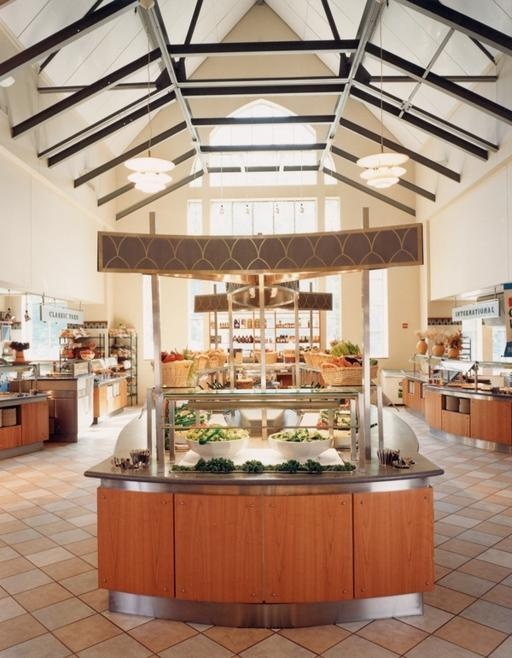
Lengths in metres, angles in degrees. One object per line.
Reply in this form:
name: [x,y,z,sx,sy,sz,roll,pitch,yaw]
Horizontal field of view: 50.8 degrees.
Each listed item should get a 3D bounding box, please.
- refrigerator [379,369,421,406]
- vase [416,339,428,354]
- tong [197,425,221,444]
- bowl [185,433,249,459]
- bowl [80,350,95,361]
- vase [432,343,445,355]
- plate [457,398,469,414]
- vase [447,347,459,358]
refrigerator: [3.008,1.325,11.593,0.577,0.774,1.739,-1,-1,5]
vase: [3.189,0.349,10.432,0.167,0.297,0.400,-1,-1,16]
tong: [-0.274,0.636,3.222,0.146,0.060,0.247,-4,1,1]
bowl: [-0.222,0.724,3.312,0.308,0.141,0.321,-1,-1,0]
bowl: [-3.255,0.521,10.540,0.276,0.159,0.277,1,-6,0]
vase: [3.213,0.371,9.546,0.195,0.238,0.225,-1,-1,16]
plate: [3.052,1.148,7.975,0.176,0.207,0.194,0,-9,2]
vase: [3.327,0.411,9.148,0.175,0.190,0.251,-1,-1,23]
